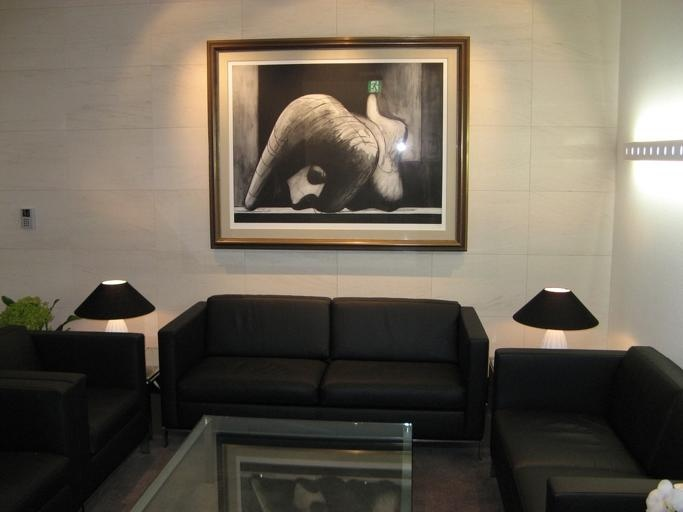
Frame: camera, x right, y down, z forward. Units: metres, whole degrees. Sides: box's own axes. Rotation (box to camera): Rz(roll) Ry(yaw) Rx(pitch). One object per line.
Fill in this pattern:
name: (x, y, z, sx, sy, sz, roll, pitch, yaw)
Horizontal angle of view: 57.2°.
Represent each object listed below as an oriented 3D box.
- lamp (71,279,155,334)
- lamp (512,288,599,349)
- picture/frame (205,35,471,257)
lamp: (-1.861, 0.384, 5.103, 0.446, 0.435, 0.469, 4, 6, 26)
lamp: (1.682, 0.416, 4.926, 0.487, 0.456, 0.486, -4, 7, -40)
picture/frame: (0.046, -1.051, 5.580, 1.761, 1.535, 0.080, 0, 4, 7)
